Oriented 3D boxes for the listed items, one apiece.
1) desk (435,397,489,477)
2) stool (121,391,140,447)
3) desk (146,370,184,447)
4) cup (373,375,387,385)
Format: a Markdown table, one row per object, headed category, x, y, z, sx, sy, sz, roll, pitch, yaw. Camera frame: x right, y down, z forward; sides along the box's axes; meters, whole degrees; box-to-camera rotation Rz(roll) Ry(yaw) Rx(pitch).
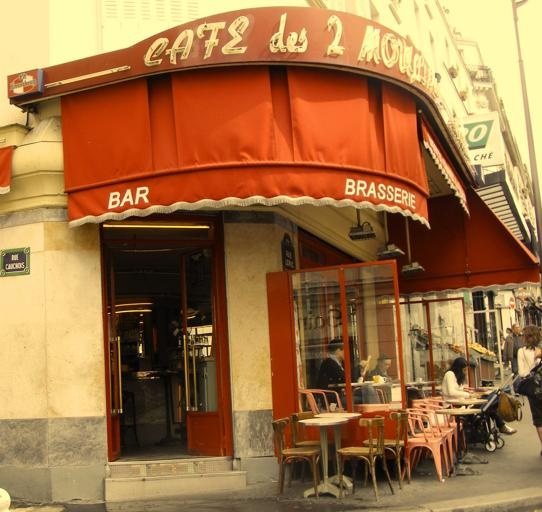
| category | x | y | z | sx | sy | sz | roll | pitch | yaw |
| --- | --- | --- | --- | --- | --- | --- | --- | --- | --- |
| desk | 2.888 | 2.734 | 9.973 | 0.948 | 1.012 | 0.986 | -1 | -11 | 1 |
| stool | -2.559 | 2.926 | 11.936 | 0.287 | 0.926 | 0.462 | -2 | -11 | -14 |
| desk | -1.782 | 2.633 | 11.929 | 0.575 | 1.136 | 0.572 | 3 | -2 | -24 |
| cup | 1.486 | 1.677 | 8.950 | 0.133 | 0.100 | 0.108 | 5 | -11 | 5 |
